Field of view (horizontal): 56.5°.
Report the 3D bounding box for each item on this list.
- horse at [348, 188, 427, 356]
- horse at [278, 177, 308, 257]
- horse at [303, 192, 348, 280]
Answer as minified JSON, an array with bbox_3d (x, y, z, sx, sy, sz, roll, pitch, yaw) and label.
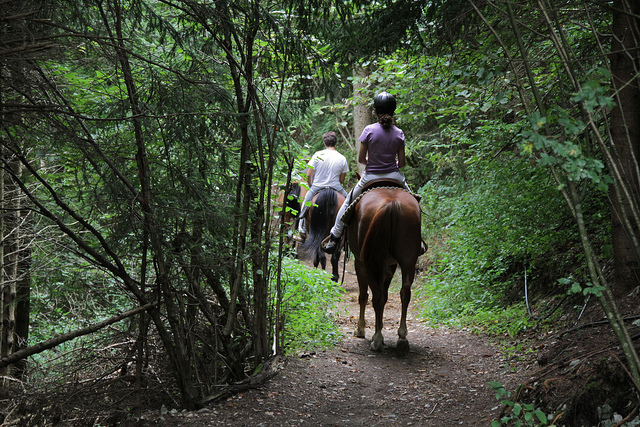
[{"bbox_3d":[0.892,0.749,8.036,0.814,2.164,1.088,0,9,-4],"label":"horse"},{"bbox_3d":[-0.610,-0.147,14.994,0.528,1.499,2.077,5,3,-13],"label":"horse"},{"bbox_3d":[-0.193,0.233,13.699,0.693,1.912,2.884,8,-1,-8],"label":"horse"}]
